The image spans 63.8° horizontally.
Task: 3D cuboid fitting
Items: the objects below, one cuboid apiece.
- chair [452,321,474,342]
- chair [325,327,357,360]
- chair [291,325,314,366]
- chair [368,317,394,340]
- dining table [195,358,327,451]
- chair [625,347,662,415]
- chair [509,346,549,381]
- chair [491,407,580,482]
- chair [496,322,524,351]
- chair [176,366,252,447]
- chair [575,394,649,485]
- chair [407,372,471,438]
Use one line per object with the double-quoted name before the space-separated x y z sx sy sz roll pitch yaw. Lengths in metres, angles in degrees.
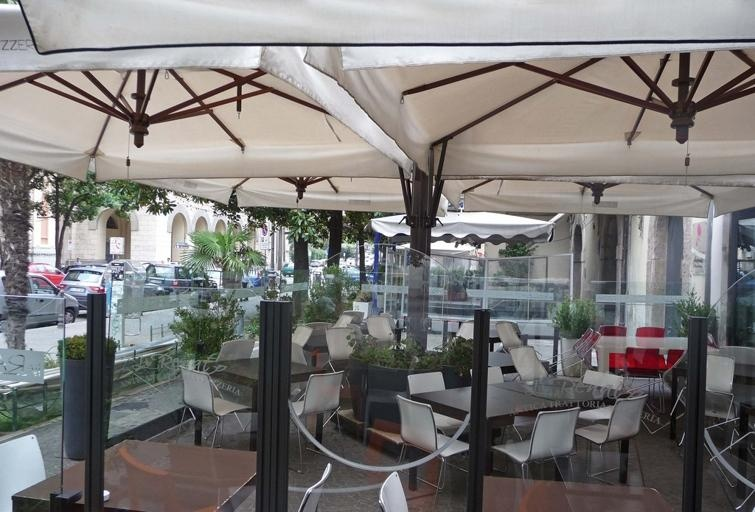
"chair" 0.577 0.499 4.061 0.150 0.119 0.152 6 -10 -15
"chair" -0.258 0.591 4.123 0.204 0.232 0.188 4 -10 -9
"chair" -0.502 0.579 3.962 0.165 0.227 0.222 5 5 26
"chair" 0.025 0.494 4.219 0.131 0.157 0.171 -1 36 3
"dining table" -0.795 0.823 3.671 0.661 0.512 0.690 -21 -30 35
"chair" 1.852 0.795 4.165 0.190 0.280 0.202 -8 9 -10
"chair" 1.080 0.756 4.272 0.147 0.266 0.184 -22 -1 -5
"chair" 1.032 1.176 4.014 0.410 0.511 0.384 3 -2 -36
"chair" 0.922 0.559 4.182 0.168 0.244 0.352 0 0 16
"chair" -1.132 1.001 4.019 0.263 0.477 0.321 11 0 19
"chair" 1.609 1.239 4.155 0.317 0.566 0.388 1 -4 -25
"chair" 0.395 0.956 3.987 0.282 0.502 0.353 3 -6 -32
